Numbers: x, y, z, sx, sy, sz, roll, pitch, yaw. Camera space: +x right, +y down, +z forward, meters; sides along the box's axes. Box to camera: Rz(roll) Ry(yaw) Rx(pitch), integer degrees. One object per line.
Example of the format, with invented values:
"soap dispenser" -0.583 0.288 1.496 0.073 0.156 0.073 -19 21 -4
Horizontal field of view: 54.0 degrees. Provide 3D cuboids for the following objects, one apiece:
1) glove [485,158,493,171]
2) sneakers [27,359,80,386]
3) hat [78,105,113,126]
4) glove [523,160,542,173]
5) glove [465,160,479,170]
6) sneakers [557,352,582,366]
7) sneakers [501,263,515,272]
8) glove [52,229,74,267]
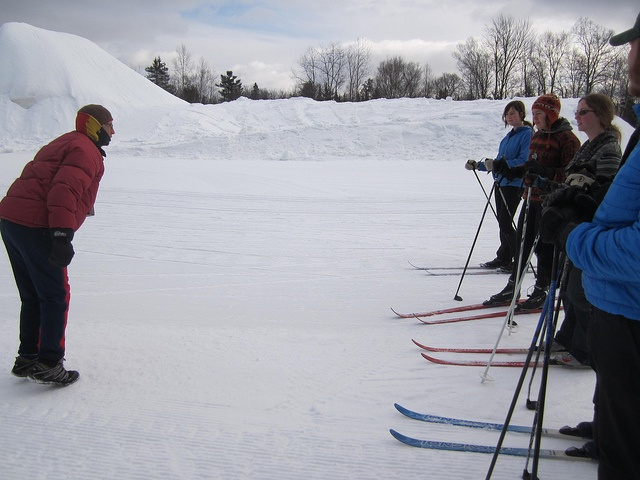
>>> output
"glove" 1.580 -0.704 5.834 0.043 0.115 0.083 -2 7 18
"sneakers" -2.066 1.048 4.969 0.429 0.205 0.154 3 8 -44
"hat" -1.832 -1.050 5.133 0.232 0.187 0.183 -14 26 -32
"glove" 1.865 -0.632 5.443 0.141 0.099 0.126 -5 22 -12
"glove" 1.478 -0.732 6.187 0.157 0.115 0.111 3 22 29
"sneakers" 2.074 1.003 5.218 0.235 0.102 0.078 4 33 16
"sneakers" 2.311 0.347 7.708 0.196 0.091 0.077 5 1 27
"glove" -1.975 0.076 4.791 0.172 0.337 0.208 -4 15 -20
